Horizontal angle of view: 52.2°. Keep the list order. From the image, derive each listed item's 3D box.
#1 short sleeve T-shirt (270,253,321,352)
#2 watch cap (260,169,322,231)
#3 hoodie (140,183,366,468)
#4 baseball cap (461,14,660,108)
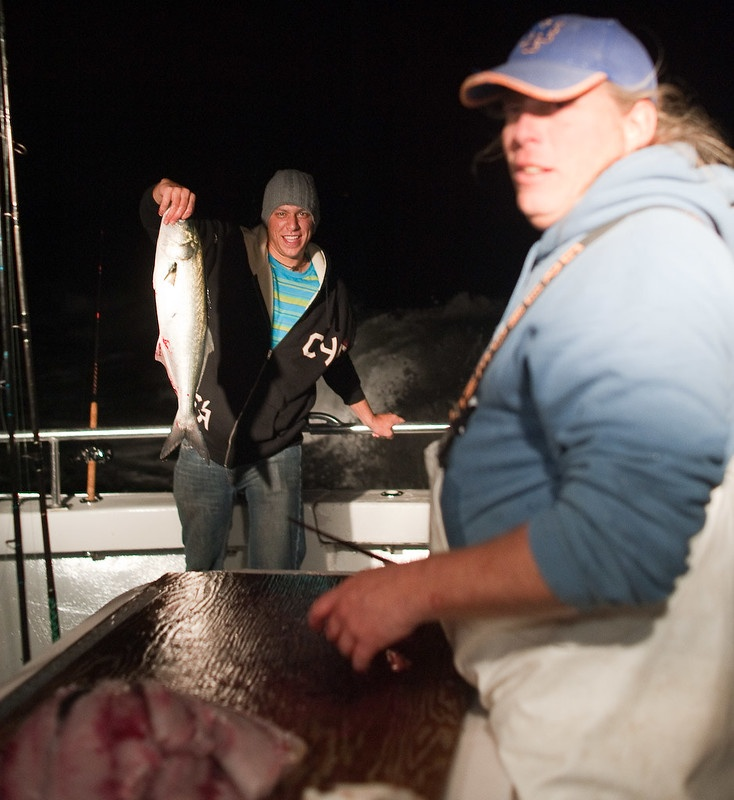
[{"bbox_3d":[-0.315,-0.405,3.203,0.227,0.386,0.096,10,-20,1],"label":"short sleeve T-shirt"},{"bbox_3d":[-0.326,-0.895,3.309,0.242,0.224,0.252,0,0,-36],"label":"watch cap"},{"bbox_3d":[-0.419,-0.242,3.097,0.928,1.037,0.252,-1,-6,34],"label":"hoodie"},{"bbox_3d":[0.274,-0.484,1.083,0.217,0.111,0.165,13,9,-9],"label":"baseball cap"}]
